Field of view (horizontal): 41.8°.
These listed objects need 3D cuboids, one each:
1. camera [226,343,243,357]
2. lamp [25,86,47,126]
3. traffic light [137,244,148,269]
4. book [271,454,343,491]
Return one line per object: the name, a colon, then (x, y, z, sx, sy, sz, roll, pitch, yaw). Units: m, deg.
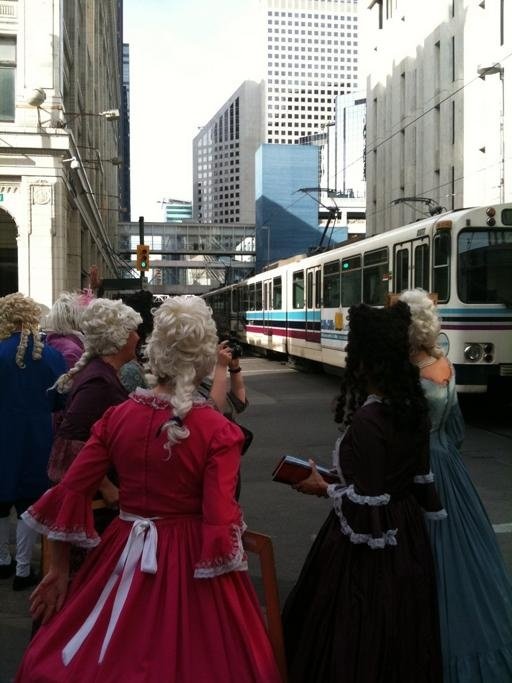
camera: (-0.094, 0.037, 2.978, 0.064, 0.065, 0.061, 1, 1, -1)
lamp: (-6.104, -6.600, 18.688, 0.525, 1.073, 0.969, -1, 7, -18)
traffic light: (-4.090, -2.996, 24.170, 0.381, 0.938, 0.933, -1, 7, -15)
book: (0.187, 0.492, 2.611, 0.199, 0.151, 0.049, 14, 32, -19)
